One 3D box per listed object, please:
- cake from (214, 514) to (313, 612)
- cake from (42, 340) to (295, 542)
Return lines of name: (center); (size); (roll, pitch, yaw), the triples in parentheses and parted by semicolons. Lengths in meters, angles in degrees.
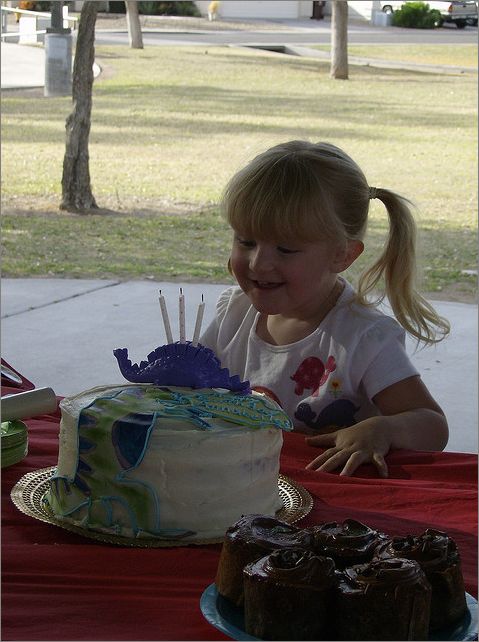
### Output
cake: (0.041, 0.314, 1.011); (0.149, 0.070, 0.121); (4, 4, 10)
cake: (-0.187, 0.201, 1.396); (0.457, 0.226, 0.380); (6, 10, 21)
